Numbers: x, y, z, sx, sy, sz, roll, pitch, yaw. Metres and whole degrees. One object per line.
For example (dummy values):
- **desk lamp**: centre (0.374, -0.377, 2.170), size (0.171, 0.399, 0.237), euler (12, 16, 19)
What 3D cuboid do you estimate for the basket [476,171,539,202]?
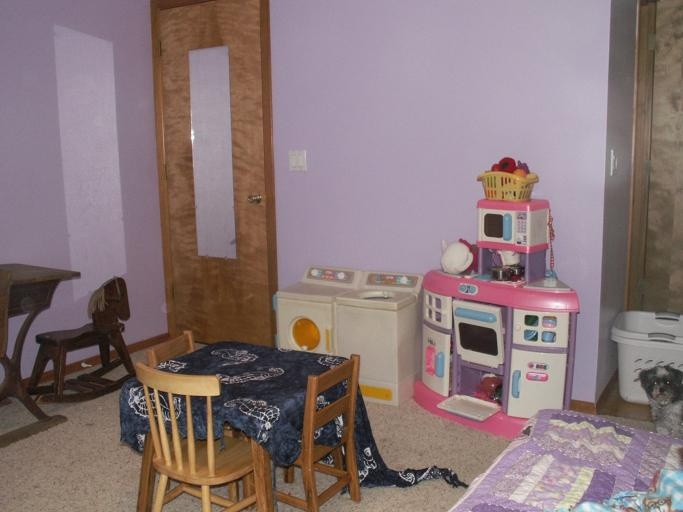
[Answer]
- **basket**: centre (1.019, -0.425, 3.431), size (0.266, 0.131, 0.210), euler (6, 10, 42)
